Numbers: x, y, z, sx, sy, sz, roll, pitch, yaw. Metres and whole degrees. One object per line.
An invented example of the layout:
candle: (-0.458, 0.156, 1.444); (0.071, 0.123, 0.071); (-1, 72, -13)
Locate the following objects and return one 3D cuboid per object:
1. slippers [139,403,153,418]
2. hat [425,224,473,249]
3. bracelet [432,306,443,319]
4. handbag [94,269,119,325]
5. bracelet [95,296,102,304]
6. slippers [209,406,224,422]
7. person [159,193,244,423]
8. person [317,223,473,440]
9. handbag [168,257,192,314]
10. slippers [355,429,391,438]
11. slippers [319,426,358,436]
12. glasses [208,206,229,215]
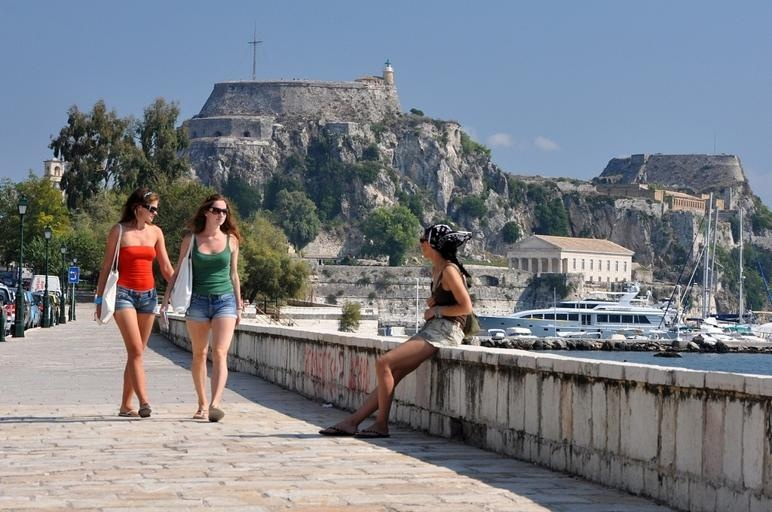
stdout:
slippers: (-3.183, 2.055, 16.582); (0.152, 0.188, 0.241); (2, -2, -5)
hat: (0.742, -0.250, 15.565); (0.426, 0.233, 0.326); (4, 2, 9)
bracelet: (0.634, 0.711, 15.569); (0.123, 0.139, 0.032); (1, 1, 18)
handbag: (-3.652, 0.542, 16.403); (0.228, 0.707, 0.277); (2, -2, 5)
bracelet: (-3.759, 0.587, 16.397); (0.092, 0.074, 0.095); (0, 5, -1)
slippers: (-2.222, 2.078, 16.353); (0.197, 0.204, 0.229); (2, -2, -8)
person: (-2.366, 0.679, 16.522); (0.913, 2.991, 0.497); (2, -2, -7)
person: (0.340, 0.933, 15.606); (1.524, 2.704, 0.686); (2, -2, 3)
handbag: (-2.682, 0.382, 16.374); (0.242, 0.760, 0.251); (0, -3, 39)
slippers: (-0.160, 2.188, 15.476); (0.325, 0.081, 0.151); (4, -8, -8)
slippers: (-0.601, 2.204, 15.550); (0.398, 0.102, 0.166); (5, -6, -2)
glasses: (-2.197, -0.595, 16.457); (0.251, 0.081, 0.072); (4, -3, -31)
